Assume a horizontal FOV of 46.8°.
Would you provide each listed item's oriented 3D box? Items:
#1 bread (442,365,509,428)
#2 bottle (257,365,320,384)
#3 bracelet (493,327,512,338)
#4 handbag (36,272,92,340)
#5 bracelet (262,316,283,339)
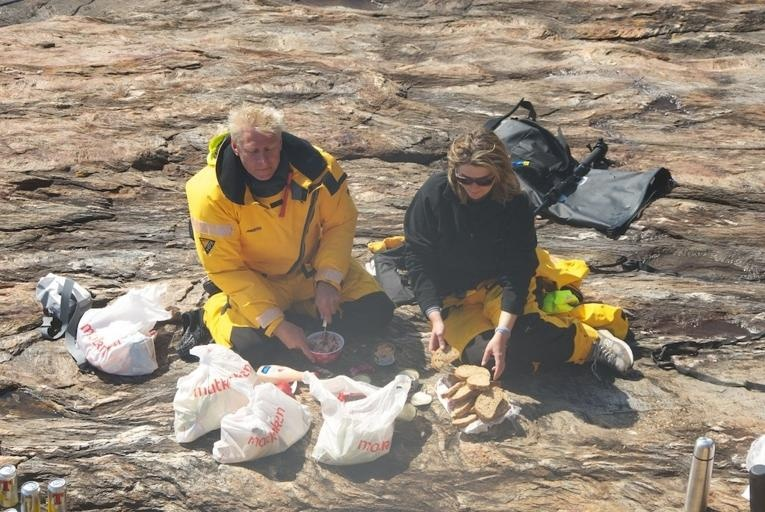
[{"bbox_3d":[0.868,1.448,9.180,0.719,0.597,0.428,19,25,39],"label":"bread"},{"bbox_3d":[-1.077,1.259,9.318,0.483,0.205,0.263,1,17,-6],"label":"bottle"},{"bbox_3d":[1.272,0.786,9.232,0.123,0.046,0.128,10,-5,-22],"label":"bracelet"},{"bbox_3d":[-3.630,0.561,9.888,0.682,0.647,0.496,8,20,12],"label":"handbag"},{"bbox_3d":[-1.149,0.737,9.386,0.214,0.230,0.077,-3,24,-19],"label":"bracelet"}]
